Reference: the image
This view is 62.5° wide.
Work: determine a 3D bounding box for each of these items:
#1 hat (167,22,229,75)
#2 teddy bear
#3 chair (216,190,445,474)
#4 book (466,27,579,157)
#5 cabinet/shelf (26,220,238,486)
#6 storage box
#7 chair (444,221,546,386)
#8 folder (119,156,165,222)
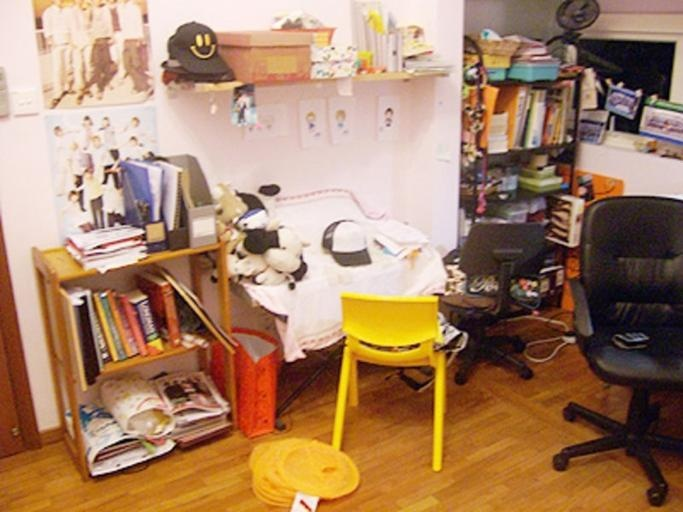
[{"bbox_3d":[-0.659,-0.995,2.643,0.323,0.189,0.423,-3,2,-9],"label":"hat"},{"bbox_3d":[-0.491,-0.081,3.012,0.523,0.534,0.250,-14,-4,-36],"label":"teddy bear"},{"bbox_3d":[-0.087,0.433,3.032,1.047,1.614,1.137,6,44,15],"label":"chair"},{"bbox_3d":[1.184,-1.086,3.728,0.978,0.582,0.589,-11,21,-33],"label":"book"},{"bbox_3d":[-1.077,0.498,2.826,1.110,1.211,0.560,-17,33,-29],"label":"cabinet/shelf"},{"bbox_3d":[-0.518,-1.010,2.865,0.717,0.230,0.653,-2,21,-3],"label":"storage box"},{"bbox_3d":[0.945,0.204,3.582,0.600,0.992,0.787,0,21,10],"label":"chair"},{"bbox_3d":[-0.954,-0.328,2.724,0.328,0.270,0.061,20,26,41],"label":"folder"}]
